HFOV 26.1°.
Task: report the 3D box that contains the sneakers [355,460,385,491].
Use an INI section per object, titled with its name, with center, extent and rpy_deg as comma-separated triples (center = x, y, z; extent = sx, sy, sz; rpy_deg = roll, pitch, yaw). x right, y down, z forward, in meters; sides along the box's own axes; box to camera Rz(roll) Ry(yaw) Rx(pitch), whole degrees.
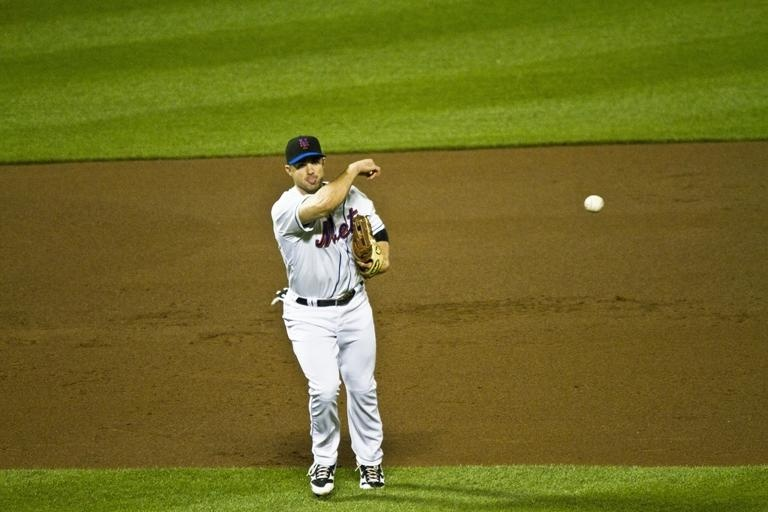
[sneakers]
center = -0.154, 2.712, 20.501
extent = 0.183, 0.437, 0.193
rpy_deg = -4, -12, -4

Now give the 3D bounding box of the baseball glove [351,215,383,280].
[baseball glove]
center = -0.214, -0.135, 20.091
extent = 0.402, 0.704, 0.369
rpy_deg = -4, -5, -16
